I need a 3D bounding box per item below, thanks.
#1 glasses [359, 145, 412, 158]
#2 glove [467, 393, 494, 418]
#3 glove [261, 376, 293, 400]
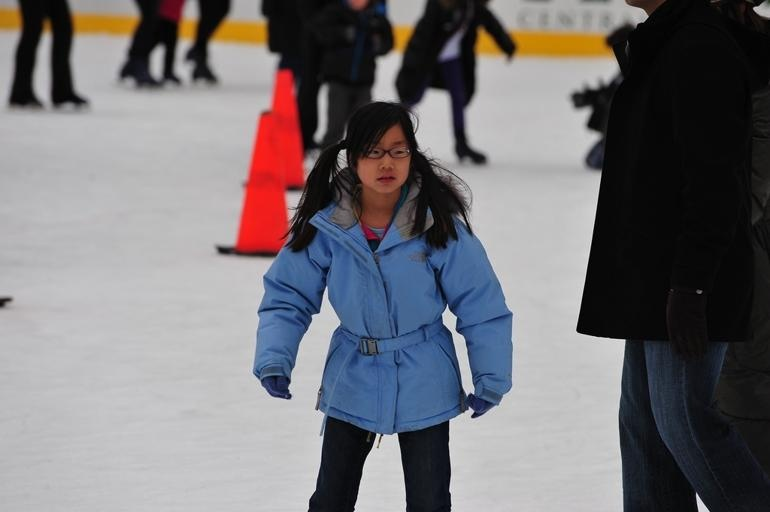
[{"bbox_3d":[0.002,-0.341,4.377,0.144,0.043,0.027,-1,12,-12],"label":"glasses"},{"bbox_3d":[0.308,0.490,4.421,0.090,0.078,0.049,5,13,16],"label":"glove"},{"bbox_3d":[-0.362,0.439,4.442,0.063,0.102,0.041,1,-20,4],"label":"glove"}]
